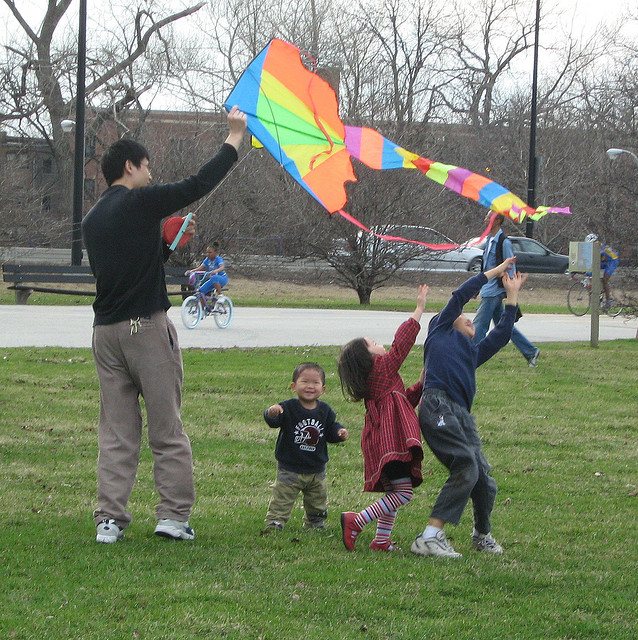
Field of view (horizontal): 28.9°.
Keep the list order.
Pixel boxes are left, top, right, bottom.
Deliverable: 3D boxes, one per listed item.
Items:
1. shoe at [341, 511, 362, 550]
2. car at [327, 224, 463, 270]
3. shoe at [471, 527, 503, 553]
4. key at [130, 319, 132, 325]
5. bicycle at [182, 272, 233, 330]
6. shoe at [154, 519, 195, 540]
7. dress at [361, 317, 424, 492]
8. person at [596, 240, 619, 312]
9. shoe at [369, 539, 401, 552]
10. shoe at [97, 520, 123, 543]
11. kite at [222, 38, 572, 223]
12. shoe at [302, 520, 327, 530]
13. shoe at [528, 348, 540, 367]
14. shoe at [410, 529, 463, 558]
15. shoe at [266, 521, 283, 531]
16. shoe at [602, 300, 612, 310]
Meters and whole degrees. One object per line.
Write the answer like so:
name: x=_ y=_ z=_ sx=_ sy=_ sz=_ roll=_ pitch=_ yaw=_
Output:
shoe: x=0.195 y=1.298 z=7.800 sx=0.116 sy=0.277 sz=0.090 roll=-3 pitch=7 yaw=8
car: x=1.378 y=-1.473 z=26.138 sx=2.929 sy=0.975 sz=1.377 roll=-4 pitch=7 yaw=-26
shoe: x=1.052 y=1.393 z=7.918 sx=0.241 sy=0.164 sz=0.088 roll=5 pitch=8 yaw=23
key: x=-1.150 y=0.005 z=7.576 sx=0.017 sy=0.031 sz=0.010 roll=1 pitch=2 yaw=14
bicycle: x=-1.824 y=-0.188 z=19.322 sx=0.513 sy=0.722 sz=1.062 roll=2 pitch=-1 yaw=32
shoe: x=-0.892 y=1.285 z=7.719 sx=0.276 sy=0.144 sz=0.109 roll=10 pitch=0 yaw=-35
dress: x=0.457 y=0.523 z=7.702 sx=0.367 sy=1.073 sz=0.353 roll=1 pitch=2 yaw=2
person: x=5.290 y=-0.864 z=22.691 sx=0.358 sy=1.188 sz=2.227 roll=1 pitch=2 yaw=14
shoe: x=0.426 y=1.406 z=7.774 sx=0.167 sy=0.078 sz=0.062 roll=2 pitch=8 yaw=-3
shoe: x=-1.280 y=1.279 z=7.592 sx=0.157 sy=0.136 sz=0.095 roll=0 pitch=2 yaw=-18
kite: x=0.243 y=-1.384 z=8.896 sx=1.791 sy=1.244 sz=0.772 roll=1 pitch=2 yaw=2
shoe: x=-0.026 y=1.362 z=8.262 sx=0.166 sy=0.080 sz=0.058 roll=1 pitch=2 yaw=4
shoe: x=2.517 y=0.448 z=14.509 sx=0.102 sy=0.266 sz=0.087 roll=12 pitch=5 yaw=10
shoe: x=0.722 y=1.366 z=7.666 sx=0.316 sy=0.158 sz=0.143 roll=1 pitch=2 yaw=4
shoe: x=-0.290 y=1.333 z=8.100 sx=0.070 sy=0.049 sz=0.086 roll=3 pitch=-11 yaw=-3
shoe: x=5.556 y=-0.313 z=23.871 sx=0.152 sy=0.185 sz=0.281 roll=1 pitch=2 yaw=-6
